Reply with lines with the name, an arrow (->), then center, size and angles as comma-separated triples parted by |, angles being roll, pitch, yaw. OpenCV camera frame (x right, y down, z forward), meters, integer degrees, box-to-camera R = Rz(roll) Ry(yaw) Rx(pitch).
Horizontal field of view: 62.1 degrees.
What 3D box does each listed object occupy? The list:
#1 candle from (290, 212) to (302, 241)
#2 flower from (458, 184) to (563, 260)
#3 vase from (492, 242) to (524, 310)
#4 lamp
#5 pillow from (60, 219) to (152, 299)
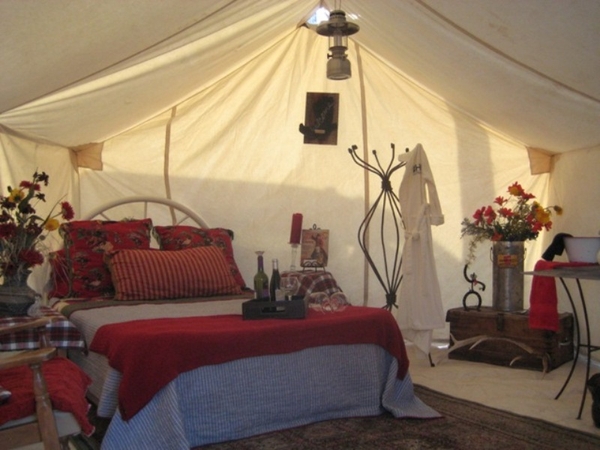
candle -> -0.034, 0.039, 4.621 | 0.101, 0.280, 0.102 | 6, -6, -4
flower -> 1.980, -0.040, 4.749 | 0.858, 0.773, 0.734 | -1, 6, -30
vase -> 1.888, 0.464, 4.499 | 0.260, 0.622, 0.145 | -1, -1, 15
lamp -> 0.340, -1.578, 4.359 | 0.342, 0.603, 0.684 | -1, -1, 7
pillow -> -1.646, 0.243, 3.969 | 0.637, 0.648, 0.184 | 4, -14, -37
